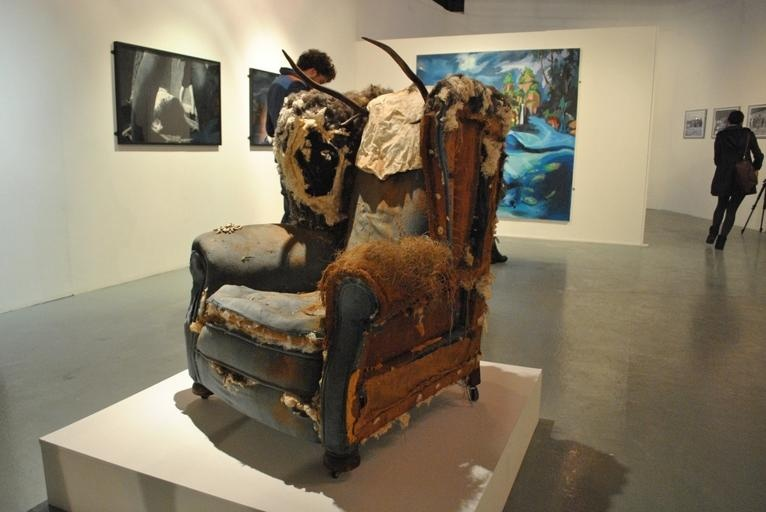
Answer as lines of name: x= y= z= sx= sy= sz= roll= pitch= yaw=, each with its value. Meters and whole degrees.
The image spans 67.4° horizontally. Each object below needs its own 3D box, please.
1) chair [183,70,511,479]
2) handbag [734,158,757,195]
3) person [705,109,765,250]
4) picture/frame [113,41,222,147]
chair: x=-0.195 y=-0.052 z=3.459 sx=1.577 sy=1.926 sz=1.557 roll=10 pitch=13 yaw=39
handbag: x=5.058 y=-1.109 z=8.042 sx=0.310 sy=0.463 sz=0.145 roll=4 pitch=-5 yaw=4
person: x=4.937 y=-1.076 z=8.079 sx=0.590 sy=1.861 sz=0.877 roll=8 pitch=16 yaw=29
picture/frame: x=-2.379 y=-1.748 z=6.483 sx=0.049 sy=1.064 sz=1.390 roll=8 pitch=12 yaw=31
